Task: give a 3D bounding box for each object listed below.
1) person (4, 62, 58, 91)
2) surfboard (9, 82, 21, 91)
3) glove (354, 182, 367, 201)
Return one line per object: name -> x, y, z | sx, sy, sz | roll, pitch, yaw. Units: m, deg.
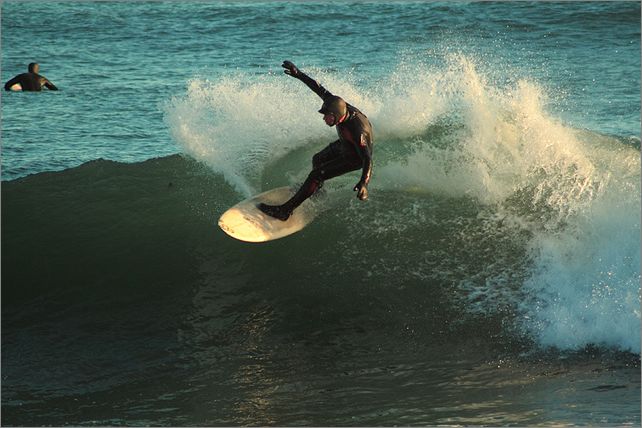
person -> -9.853, -4.677, 33.934 | 1.529, 0.606, 1.990 | 6, 29, -2
surfboard -> -10.217, -4.292, 33.431 | 0.282, 0.229, 0.264 | -1, -12, -25
glove -> 0.999, -0.513, 25.002 | 0.295, 0.556, 0.400 | 0, 36, 3
